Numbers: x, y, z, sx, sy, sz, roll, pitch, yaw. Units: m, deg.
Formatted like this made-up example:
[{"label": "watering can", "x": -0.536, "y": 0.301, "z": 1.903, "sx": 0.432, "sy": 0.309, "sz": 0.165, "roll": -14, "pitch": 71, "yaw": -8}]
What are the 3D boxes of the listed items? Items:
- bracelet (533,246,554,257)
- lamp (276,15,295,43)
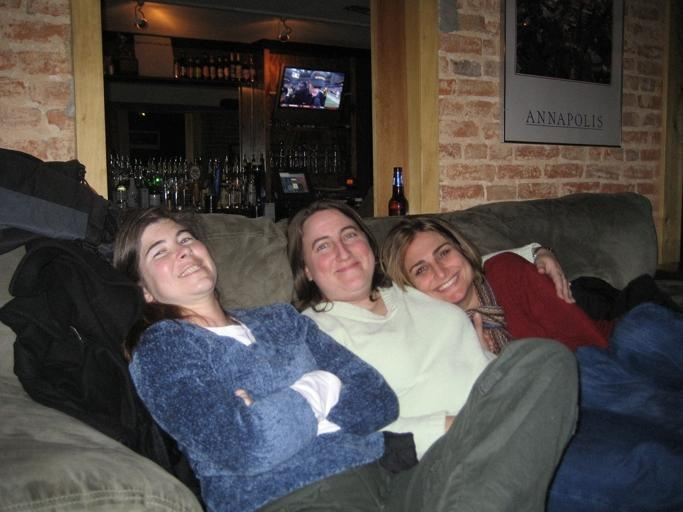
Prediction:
[{"label": "bracelet", "x": 0.867, "y": -0.016, "z": 2.534, "sx": 0.062, "sy": 0.045, "sz": 0.068, "roll": 12, "pitch": 2, "yaw": 2}, {"label": "lamp", "x": -0.585, "y": -2.377, "z": 6.274, "sx": 0.161, "sy": 0.228, "sz": 0.106, "roll": -8, "pitch": 17, "yaw": -30}]
